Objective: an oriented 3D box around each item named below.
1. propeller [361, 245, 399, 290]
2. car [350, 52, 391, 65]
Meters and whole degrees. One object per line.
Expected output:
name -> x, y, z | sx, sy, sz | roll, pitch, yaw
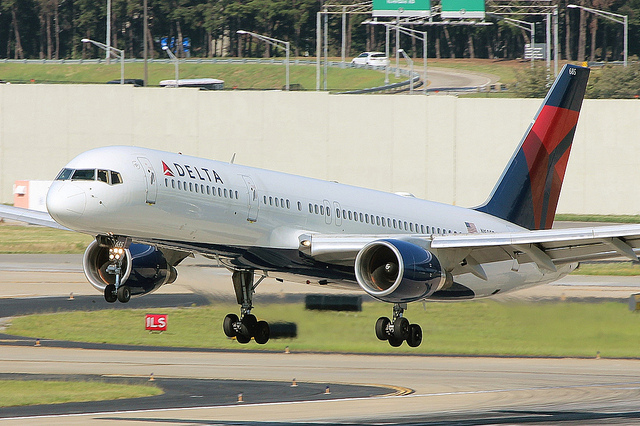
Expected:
propeller -> 3.078, 2.792, 66.308 | 1.923, 2.314, 0.887 | -1, 14, -17
car -> 5.771, -17.564, 146.062 | 2.825, 1.131, 4.429 | -5, 13, -28
